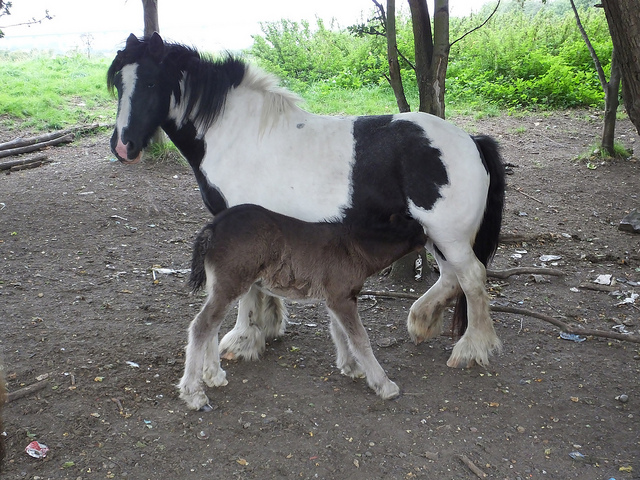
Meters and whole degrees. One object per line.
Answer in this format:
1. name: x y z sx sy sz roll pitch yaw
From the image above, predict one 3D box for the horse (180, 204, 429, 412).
1. horse: -0.218 0.437 3.986 1.784 1.507 0.933 -4 20 -3
